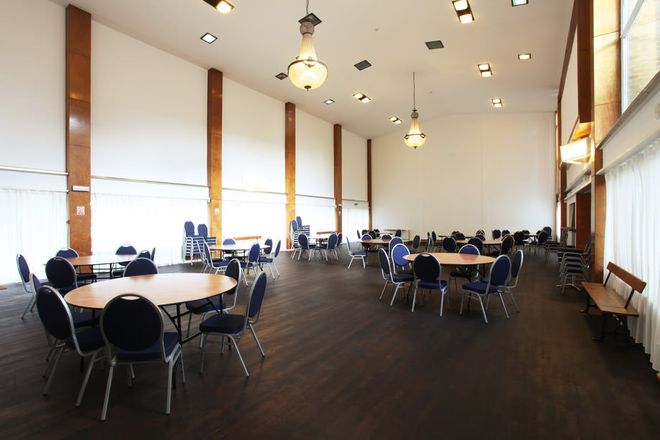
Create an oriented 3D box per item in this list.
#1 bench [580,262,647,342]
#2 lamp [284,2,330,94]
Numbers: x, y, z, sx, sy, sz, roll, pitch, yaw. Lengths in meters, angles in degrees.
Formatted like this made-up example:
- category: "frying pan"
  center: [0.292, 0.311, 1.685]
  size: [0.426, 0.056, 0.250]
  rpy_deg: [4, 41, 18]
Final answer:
- category: "bench"
  center: [4.947, 1.453, 7.529]
  size: [0.457, 0.768, 1.276]
  rpy_deg: [2, 1, 19]
- category: "lamp"
  center: [-0.528, -3.972, 9.906]
  size: [0.794, 2.588, 2.462]
  rpy_deg: [-1, -1, -3]
